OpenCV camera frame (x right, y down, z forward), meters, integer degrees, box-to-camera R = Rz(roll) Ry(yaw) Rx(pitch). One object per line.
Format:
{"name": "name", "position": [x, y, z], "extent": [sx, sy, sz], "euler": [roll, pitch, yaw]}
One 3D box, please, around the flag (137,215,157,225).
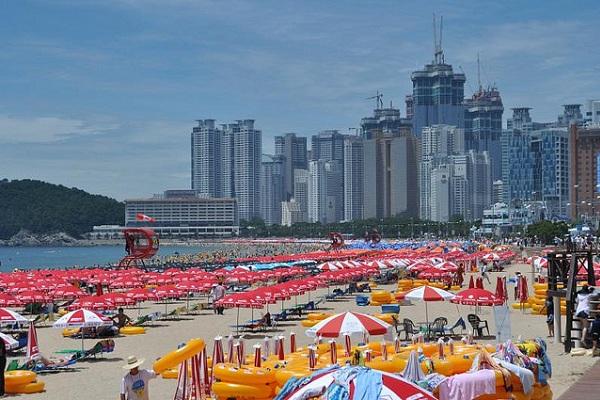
{"name": "flag", "position": [-51.256, 6.615, 443.496], "extent": [5.250, 2.372, 6.986], "euler": [0, 4, -39]}
